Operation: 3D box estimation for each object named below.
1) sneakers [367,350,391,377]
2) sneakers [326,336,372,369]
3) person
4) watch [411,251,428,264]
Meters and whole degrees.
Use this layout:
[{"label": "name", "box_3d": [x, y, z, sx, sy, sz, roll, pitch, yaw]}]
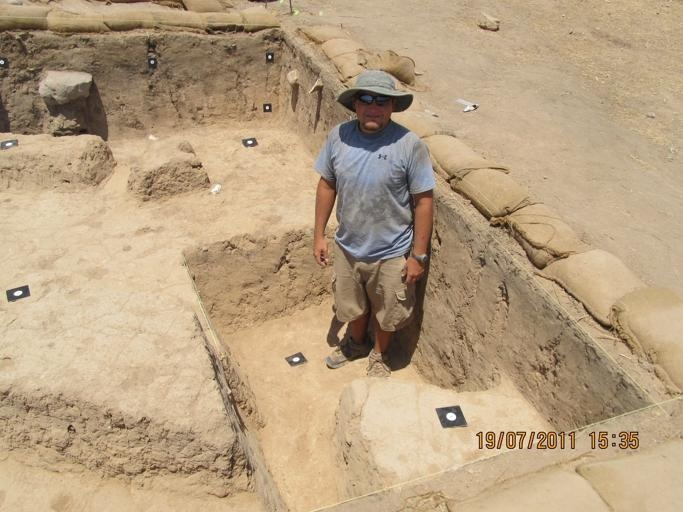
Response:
[{"label": "sneakers", "box_3d": [0.312, 0.883, 4.516, 0.151, 0.103, 0.244, 0, 34, 0]}, {"label": "sneakers", "box_3d": [0.054, 0.830, 4.780, 0.479, 0.207, 0.177, -18, 50, -5]}, {"label": "person", "box_3d": [0.159, -0.081, 4.204, 0.711, 2.381, 1.115, -10, 56, -19]}, {"label": "watch", "box_3d": [0.547, 0.013, 3.867, 0.112, 0.106, 0.061, 1, 91, 3]}]
